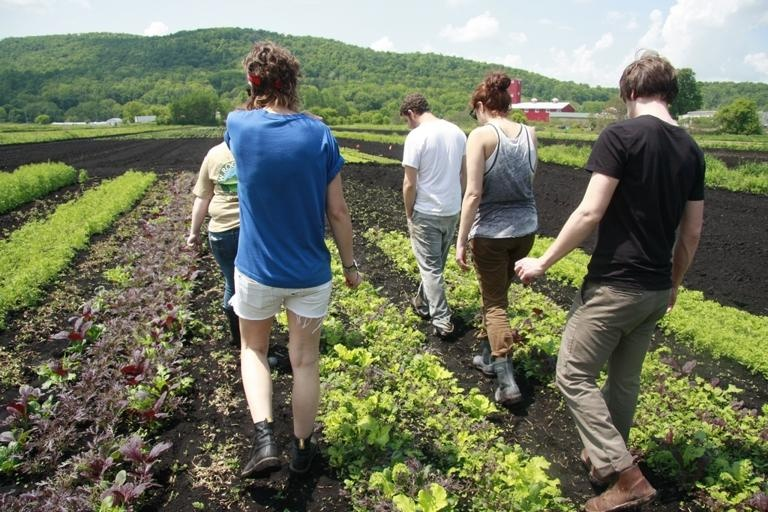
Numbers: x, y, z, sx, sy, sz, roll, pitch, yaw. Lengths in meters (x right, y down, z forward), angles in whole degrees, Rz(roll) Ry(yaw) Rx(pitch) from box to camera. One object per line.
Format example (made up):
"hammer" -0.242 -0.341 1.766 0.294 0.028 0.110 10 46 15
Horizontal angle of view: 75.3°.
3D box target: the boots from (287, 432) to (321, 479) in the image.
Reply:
"boots" -0.735 1.926 5.012 0.212 0.349 0.522 5 27 2
